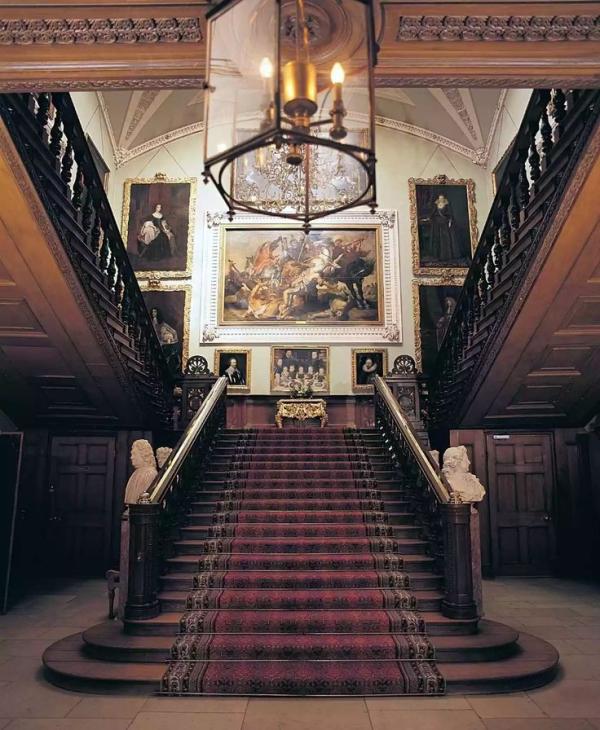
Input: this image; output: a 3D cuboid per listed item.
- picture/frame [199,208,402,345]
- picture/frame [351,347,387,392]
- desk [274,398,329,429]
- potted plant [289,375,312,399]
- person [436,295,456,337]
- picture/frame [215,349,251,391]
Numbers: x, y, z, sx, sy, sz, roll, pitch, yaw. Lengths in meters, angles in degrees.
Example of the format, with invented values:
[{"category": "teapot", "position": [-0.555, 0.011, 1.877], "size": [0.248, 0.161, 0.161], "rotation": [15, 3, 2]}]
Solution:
[{"category": "picture/frame", "position": [-0.043, -1.627, 11.675], "size": [3.236, 2.074, 0.172], "rotation": [0, -15, 1]}, {"category": "picture/frame", "position": [1.295, 0.108, 11.199], "size": [0.902, 0.940, 0.071], "rotation": [2, -9, 0]}, {"category": "desk", "position": [0.003, 0.876, 10.551], "size": [0.891, 0.525, 0.342], "rotation": [-3, 22, -3]}, {"category": "potted plant", "position": [-0.009, 0.435, 11.031], "size": [0.362, 0.168, 0.536], "rotation": [-1, 11, 0]}, {"category": "person", "position": [2.923, -0.911, 11.802], "size": [0.342, 0.754, 0.831], "rotation": [4, 22, 15]}, {"category": "picture/frame", "position": [-1.268, 0.112, 11.181], "size": [0.951, 1.016, 0.088], "rotation": [0, -23, -3]}]
